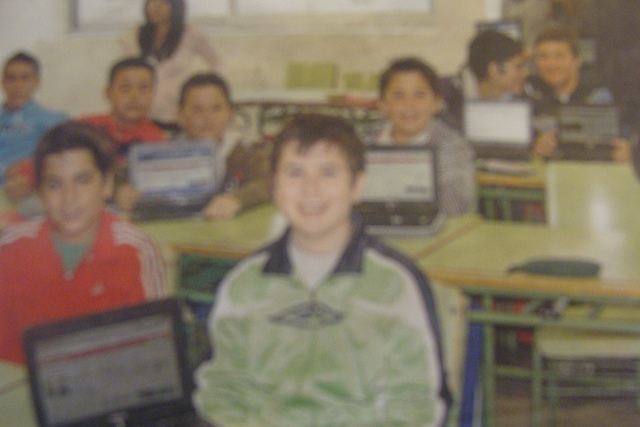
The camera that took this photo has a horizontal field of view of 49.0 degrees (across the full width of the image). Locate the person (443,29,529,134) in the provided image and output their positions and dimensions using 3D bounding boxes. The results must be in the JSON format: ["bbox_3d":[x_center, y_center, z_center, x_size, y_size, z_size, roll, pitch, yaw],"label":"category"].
[{"bbox_3d":[1.974,-1.685,8.544,1.366,1.425,1.039,3,15,15],"label":"person"}]
